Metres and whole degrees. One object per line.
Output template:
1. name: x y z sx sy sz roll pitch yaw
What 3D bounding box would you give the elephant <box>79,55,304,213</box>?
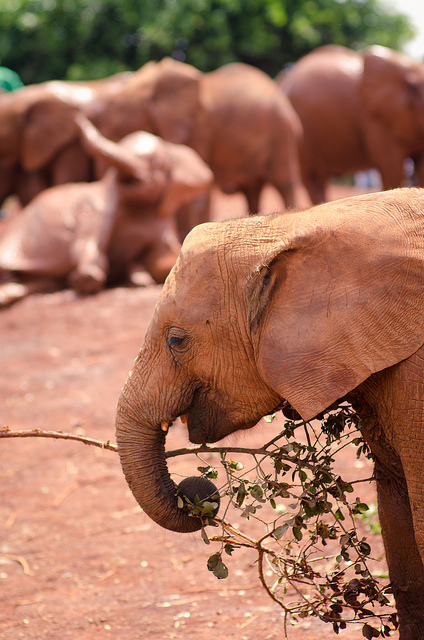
1. elephant: -0.091 -1.780 7.267 2.834 1.368 0.793 8 20 27

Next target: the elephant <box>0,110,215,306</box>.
1. elephant: -0.900 -0.949 6.236 2.303 1.164 1.583 -16 23 -20

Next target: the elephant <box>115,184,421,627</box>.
1. elephant: 0.222 0.274 2.019 0.944 1.263 0.569 12 40 10
